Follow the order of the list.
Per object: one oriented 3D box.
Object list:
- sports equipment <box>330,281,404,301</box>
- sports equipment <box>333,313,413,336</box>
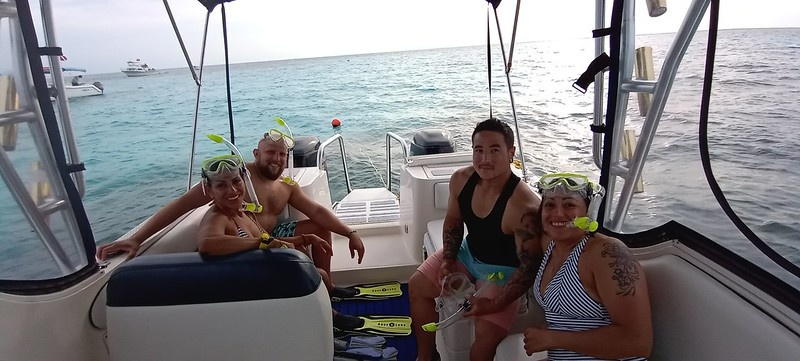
[{"bbox_3d":[-0.448,1.623,6.186,1.349,0.404,0.278,-3,56,-2],"label":"sports equipment"},{"bbox_3d":[-0.312,1.992,5.839,1.429,0.431,0.299,0,62,2],"label":"sports equipment"}]
